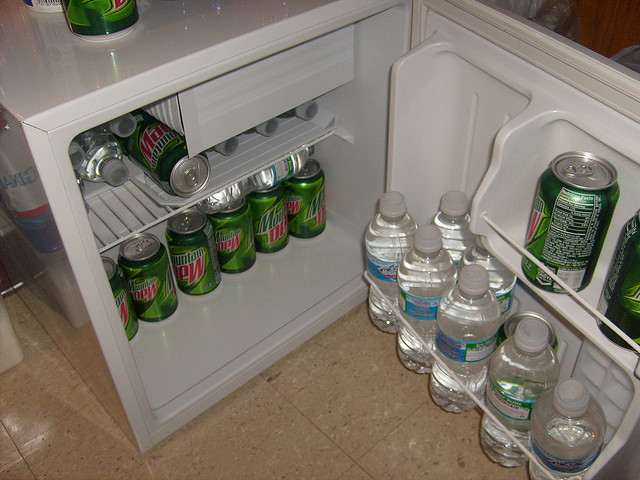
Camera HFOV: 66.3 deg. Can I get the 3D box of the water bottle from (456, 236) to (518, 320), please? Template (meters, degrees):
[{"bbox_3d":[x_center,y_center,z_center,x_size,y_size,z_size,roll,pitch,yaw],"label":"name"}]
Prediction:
[{"bbox_3d":[0.352,0.083,1.029,0.093,0.165,0.097,-11,37,9],"label":"water bottle"}]

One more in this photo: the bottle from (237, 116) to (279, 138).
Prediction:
[{"bbox_3d":[-0.160,-0.305,1.334,0.052,0.045,0.102,-13,7,11],"label":"bottle"}]

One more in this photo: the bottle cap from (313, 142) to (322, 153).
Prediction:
[{"bbox_3d":[-0.008,-0.312,1.632,0.022,0.024,0.043,4,-3,-10],"label":"bottle cap"}]

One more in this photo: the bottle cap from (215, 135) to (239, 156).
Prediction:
[{"bbox_3d":[-0.246,-0.239,1.288,0.047,0.052,0.049,-25,9,-18],"label":"bottle cap"}]

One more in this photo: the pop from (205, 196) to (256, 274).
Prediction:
[{"bbox_3d":[-0.290,-0.017,1.586,0.132,0.252,0.140,-11,38,-16],"label":"pop"}]

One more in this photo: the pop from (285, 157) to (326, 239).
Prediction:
[{"bbox_3d":[-0.054,-0.154,1.692,0.150,0.279,0.153,31,53,31],"label":"pop"}]

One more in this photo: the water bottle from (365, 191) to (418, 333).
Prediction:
[{"bbox_3d":[0.182,0.039,1.314,0.126,0.398,0.147,-28,45,-28],"label":"water bottle"}]

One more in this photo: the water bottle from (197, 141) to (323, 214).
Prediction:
[{"bbox_3d":[-0.191,-0.203,1.468,0.374,0.091,0.095,-28,64,-21],"label":"water bottle"}]

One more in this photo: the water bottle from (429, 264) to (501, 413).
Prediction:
[{"bbox_3d":[0.341,0.238,1.162,0.128,0.446,0.132,-4,40,3],"label":"water bottle"}]

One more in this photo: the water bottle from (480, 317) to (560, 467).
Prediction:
[{"bbox_3d":[0.428,0.349,1.132,0.131,0.468,0.142,-2,36,1],"label":"water bottle"}]

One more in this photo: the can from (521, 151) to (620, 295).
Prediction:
[{"bbox_3d":[0.449,-0.024,0.881,0.124,0.234,0.121,-3,36,2],"label":"can"}]

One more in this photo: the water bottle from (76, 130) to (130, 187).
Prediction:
[{"bbox_3d":[-0.501,-0.194,1.152,0.099,0.139,0.088,29,34,23],"label":"water bottle"}]

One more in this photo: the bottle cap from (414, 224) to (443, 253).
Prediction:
[{"bbox_3d":[0.229,-0.004,1.047,0.052,0.029,0.055,-19,49,-16],"label":"bottle cap"}]

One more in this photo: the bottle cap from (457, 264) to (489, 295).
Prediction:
[{"bbox_3d":[0.305,0.078,0.971,0.051,0.050,0.054,19,51,21],"label":"bottle cap"}]

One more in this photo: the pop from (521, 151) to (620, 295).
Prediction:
[{"bbox_3d":[0.449,-0.025,0.880,0.122,0.234,0.129,6,39,17],"label":"pop"}]

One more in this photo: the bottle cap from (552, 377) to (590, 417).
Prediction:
[{"bbox_3d":[0.456,0.285,0.885,0.056,0.056,0.061,-4,45,8],"label":"bottle cap"}]

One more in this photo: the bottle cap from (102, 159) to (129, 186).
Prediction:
[{"bbox_3d":[-0.477,-0.155,1.140,0.055,0.059,0.053,-2,17,-31],"label":"bottle cap"}]

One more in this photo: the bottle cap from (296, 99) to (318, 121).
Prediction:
[{"bbox_3d":[-0.036,-0.368,1.381,0.048,0.057,0.059,-8,26,-15],"label":"bottle cap"}]

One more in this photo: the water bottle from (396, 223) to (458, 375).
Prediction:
[{"bbox_3d":[0.234,0.144,1.243,0.164,0.463,0.121,-19,48,-25],"label":"water bottle"}]

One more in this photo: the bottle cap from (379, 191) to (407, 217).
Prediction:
[{"bbox_3d":[0.168,-0.082,1.126,0.054,0.029,0.057,-17,50,-14],"label":"bottle cap"}]

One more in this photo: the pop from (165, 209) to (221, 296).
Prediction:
[{"bbox_3d":[-0.383,0.057,1.510,0.107,0.293,0.141,4,47,-6],"label":"pop"}]

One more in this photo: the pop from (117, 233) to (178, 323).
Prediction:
[{"bbox_3d":[-0.499,0.147,1.481,0.117,0.300,0.137,26,47,31],"label":"pop"}]

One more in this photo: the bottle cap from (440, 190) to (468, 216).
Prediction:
[{"bbox_3d":[0.292,-0.081,1.072,0.050,0.027,0.053,-8,45,-7],"label":"bottle cap"}]

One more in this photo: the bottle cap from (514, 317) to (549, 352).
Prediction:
[{"bbox_3d":[0.408,0.181,0.944,0.053,0.049,0.058,0,50,6],"label":"bottle cap"}]

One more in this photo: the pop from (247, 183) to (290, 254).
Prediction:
[{"bbox_3d":[-0.164,-0.057,1.599,0.086,0.248,0.093,27,50,28],"label":"pop"}]

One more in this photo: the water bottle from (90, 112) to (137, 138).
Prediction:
[{"bbox_3d":[-0.476,-0.265,1.134,0.073,0.033,0.074,-24,16,7],"label":"water bottle"}]

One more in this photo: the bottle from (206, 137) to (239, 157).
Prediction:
[{"bbox_3d":[-0.254,-0.243,1.268,0.047,0.055,0.082,-26,30,-28],"label":"bottle"}]

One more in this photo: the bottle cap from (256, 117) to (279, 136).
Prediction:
[{"bbox_3d":[-0.138,-0.308,1.326,0.047,0.047,0.047,-41,34,-24],"label":"bottle cap"}]
